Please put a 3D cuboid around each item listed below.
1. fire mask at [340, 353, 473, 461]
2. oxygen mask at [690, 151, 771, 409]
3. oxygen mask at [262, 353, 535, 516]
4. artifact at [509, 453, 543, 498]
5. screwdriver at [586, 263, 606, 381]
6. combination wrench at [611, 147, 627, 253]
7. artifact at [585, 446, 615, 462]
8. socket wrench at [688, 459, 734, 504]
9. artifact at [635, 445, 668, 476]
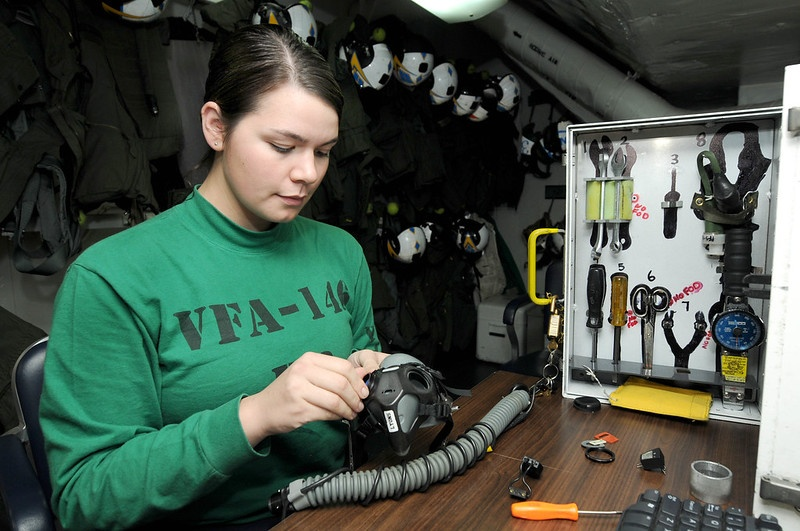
[{"bbox_3d":[0.022,0.361,1.623,0.353,0.310,0.398,2,3,26],"label":"fire mask"},{"bbox_3d":[1.102,0.055,1.900,0.296,0.897,0.313,3,9,19],"label":"oxygen mask"},{"bbox_3d":[-0.004,0.423,1.600,0.527,0.501,0.727,2,3,26],"label":"oxygen mask"},{"bbox_3d":[0.368,0.616,1.508,0.066,0.045,0.112,4,43,36],"label":"artifact"},{"bbox_3d":[0.733,0.218,1.982,0.061,0.444,0.101,3,7,27],"label":"screwdriver"},{"bbox_3d":[0.811,-0.244,1.905,0.059,0.354,0.025,9,10,39],"label":"combination wrench"},{"bbox_3d":[0.625,0.577,1.607,0.051,0.012,0.050,1,5,-1],"label":"artifact"},{"bbox_3d":[0.873,0.607,1.444,0.104,0.071,0.105,0,12,10],"label":"socket wrench"},{"bbox_3d":[0.753,0.579,1.539,0.077,0.056,0.057,3,12,19],"label":"artifact"}]
